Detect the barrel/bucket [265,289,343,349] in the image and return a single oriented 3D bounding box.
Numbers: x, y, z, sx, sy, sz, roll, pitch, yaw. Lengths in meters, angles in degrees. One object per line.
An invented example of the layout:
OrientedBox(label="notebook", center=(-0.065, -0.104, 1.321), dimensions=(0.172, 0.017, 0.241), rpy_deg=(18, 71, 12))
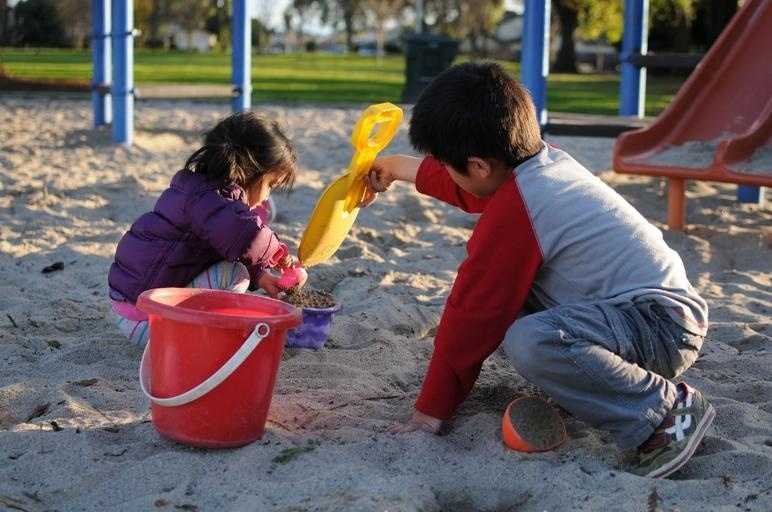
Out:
OrientedBox(label="barrel/bucket", center=(-0.405, 0.362, 5.413), dimensions=(0.295, 0.222, 0.293), rpy_deg=(2, 9, 0))

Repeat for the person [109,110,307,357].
OrientedBox(label="person", center=(-0.904, -0.297, 5.657), dimensions=(1.156, 1.405, 1.044), rpy_deg=(11, 17, -25))

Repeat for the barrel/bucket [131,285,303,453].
OrientedBox(label="barrel/bucket", center=(-0.833, 0.511, 4.704), dimensions=(0.729, 0.599, 0.743), rpy_deg=(9, 1, 0))
